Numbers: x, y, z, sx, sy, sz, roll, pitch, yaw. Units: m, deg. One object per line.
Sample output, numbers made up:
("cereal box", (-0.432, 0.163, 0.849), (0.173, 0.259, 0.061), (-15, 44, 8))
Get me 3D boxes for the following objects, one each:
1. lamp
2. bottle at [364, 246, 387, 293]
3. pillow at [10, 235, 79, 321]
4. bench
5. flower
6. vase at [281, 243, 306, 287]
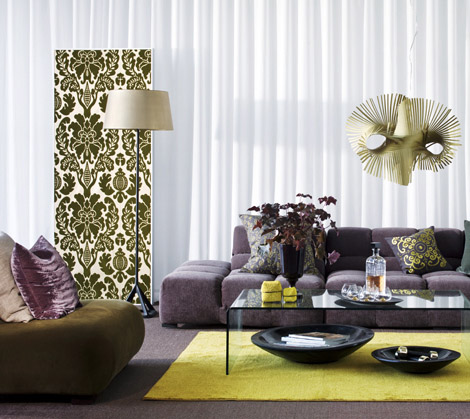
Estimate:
("lamp", (-0.805, -0.066, 5.140), (0.572, 1.977, 0.680), (-5, 13, -10))
("bottle", (0.873, 0.386, 3.642), (0.151, 0.354, 0.161), (-3, 4, 0))
("pillow", (-1.100, 0.413, 3.452), (0.250, 0.521, 0.462), (-7, 5, 6))
("bench", (-0.328, 0.680, 4.892), (0.531, 0.445, 0.666), (0, 15, 9))
("flower", (0.420, 0.135, 3.994), (0.474, 0.392, 0.623), (-11, 11, 22))
("vase", (0.369, 0.355, 3.822), (0.151, 0.264, 0.136), (-2, 13, 3))
